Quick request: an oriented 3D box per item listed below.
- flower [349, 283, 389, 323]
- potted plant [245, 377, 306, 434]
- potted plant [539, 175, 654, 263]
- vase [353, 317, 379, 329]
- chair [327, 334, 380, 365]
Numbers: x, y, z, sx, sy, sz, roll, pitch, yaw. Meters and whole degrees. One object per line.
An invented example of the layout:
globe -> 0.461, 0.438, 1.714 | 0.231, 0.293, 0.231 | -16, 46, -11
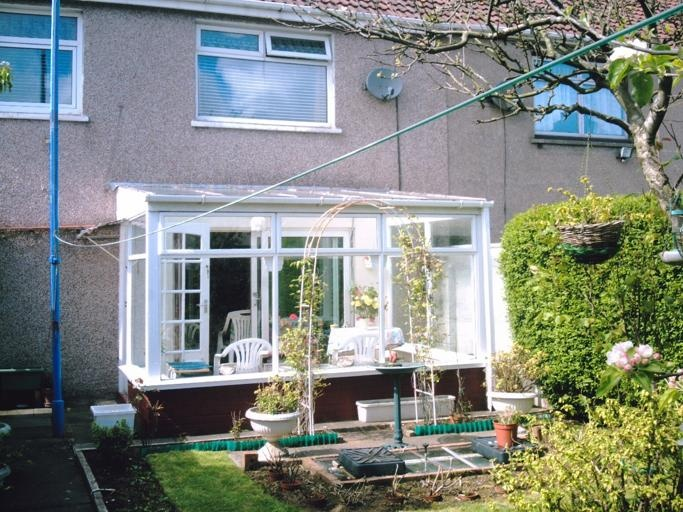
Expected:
flower -> 0.453, 0.747, 16.510 | 0.624, 0.664, 0.588 | 2, -8, -7
potted plant -> -0.938, 2.114, 13.890 | 0.852, 0.882, 0.756 | 3, -10, -10
potted plant -> 3.331, -0.465, 12.604 | 1.019, 1.366, 1.322 | -4, 3, -4
vase -> 0.414, 1.113, 16.483 | 0.201, 0.166, 0.228 | 0, 0, 28
chair -> 0.158, 1.458, 16.027 | 0.599, 0.812, 0.551 | -2, 7, -32
